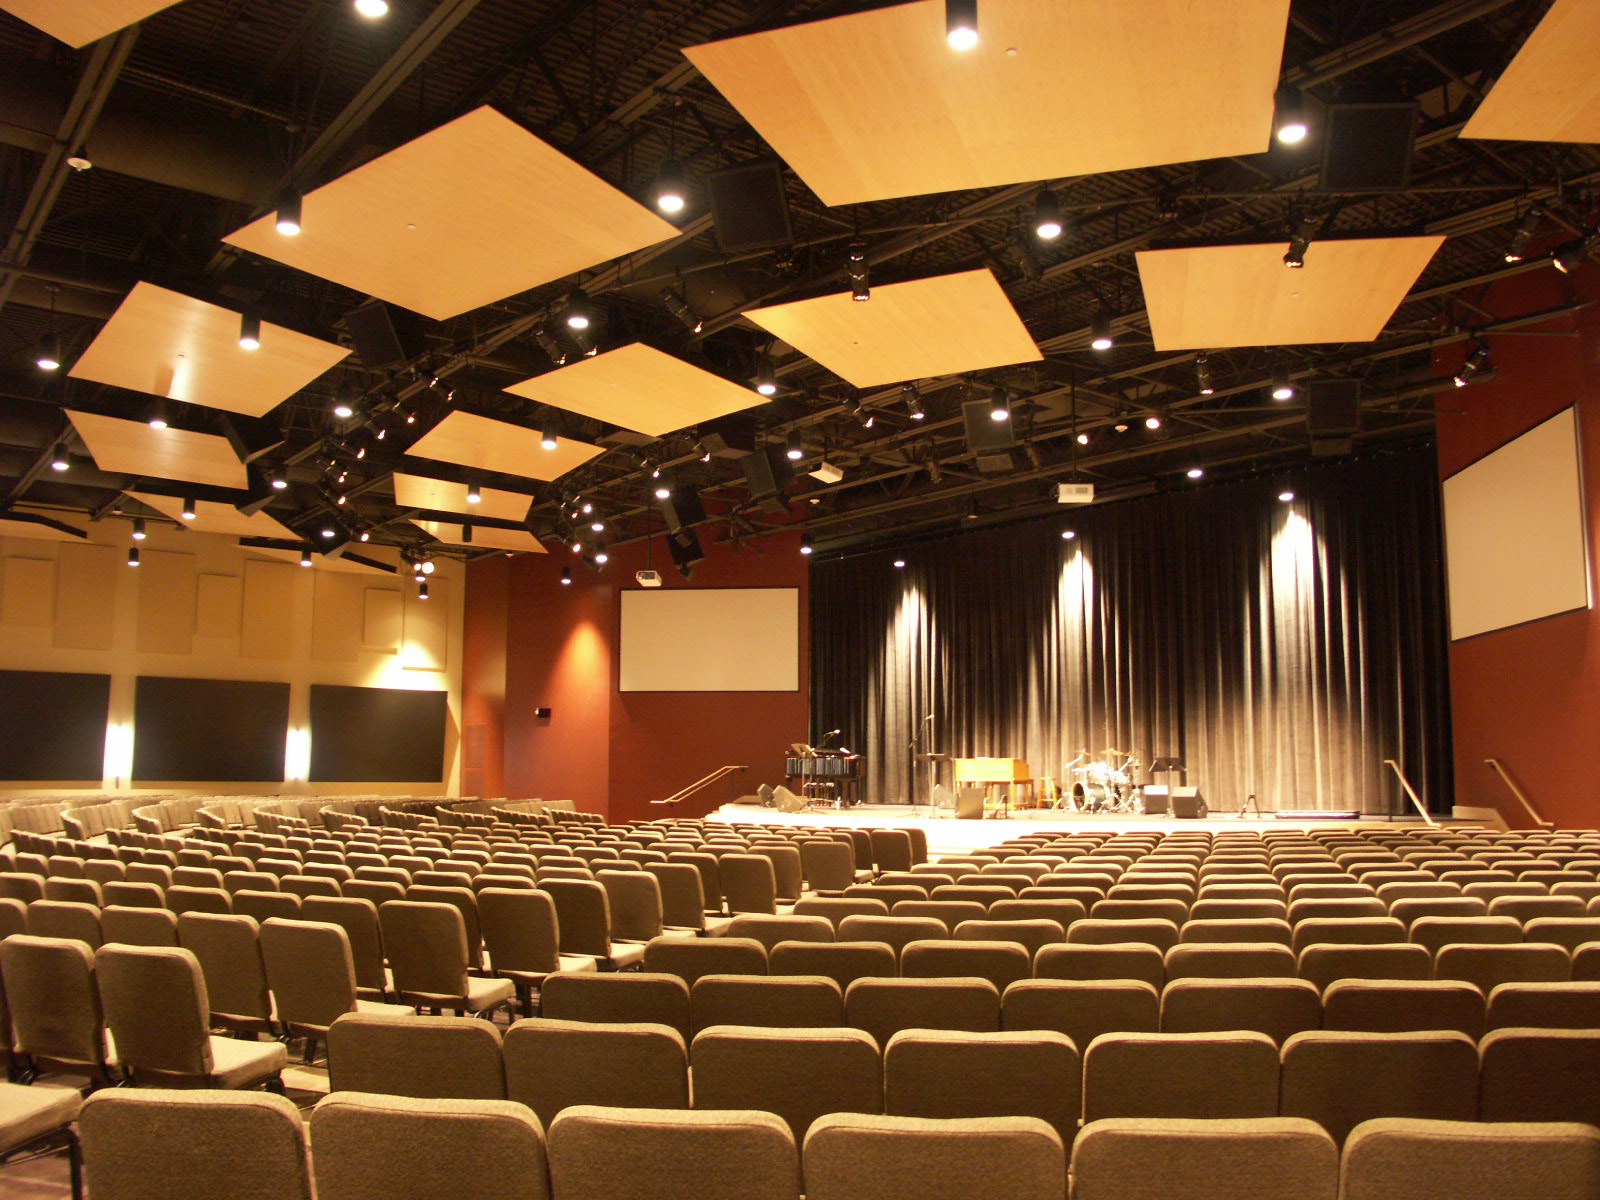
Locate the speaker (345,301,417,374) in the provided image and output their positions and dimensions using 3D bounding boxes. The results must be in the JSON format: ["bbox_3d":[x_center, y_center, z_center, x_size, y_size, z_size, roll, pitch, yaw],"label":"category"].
[{"bbox_3d":[-3.650,-2.262,10.411,0.559,0.464,0.387,-4,-11,20],"label":"speaker"}]

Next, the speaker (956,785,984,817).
[{"bbox_3d":[2.453,2.960,17.479,0.353,0.348,0.363,0,-8,-6],"label":"speaker"}]

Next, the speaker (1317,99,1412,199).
[{"bbox_3d":[3.633,-2.906,7.740,0.540,0.482,0.344,-1,-10,7],"label":"speaker"}]

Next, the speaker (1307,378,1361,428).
[{"bbox_3d":[5.393,-1.967,12.277,0.490,0.471,0.501,0,3,38],"label":"speaker"}]

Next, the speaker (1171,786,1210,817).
[{"bbox_3d":[5.221,2.688,16.189,0.351,0.500,0.528,0,3,21],"label":"speaker"}]

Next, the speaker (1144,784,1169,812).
[{"bbox_3d":[4.970,2.777,16.813,0.337,0.324,0.323,-3,-9,22],"label":"speaker"}]

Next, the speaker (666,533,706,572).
[{"bbox_3d":[-1.607,-0.778,17.988,0.616,0.587,0.165,-22,6,30],"label":"speaker"}]

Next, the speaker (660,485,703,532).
[{"bbox_3d":[-1.635,-1.271,16.562,0.370,0.633,0.474,-14,-46,13],"label":"speaker"}]
